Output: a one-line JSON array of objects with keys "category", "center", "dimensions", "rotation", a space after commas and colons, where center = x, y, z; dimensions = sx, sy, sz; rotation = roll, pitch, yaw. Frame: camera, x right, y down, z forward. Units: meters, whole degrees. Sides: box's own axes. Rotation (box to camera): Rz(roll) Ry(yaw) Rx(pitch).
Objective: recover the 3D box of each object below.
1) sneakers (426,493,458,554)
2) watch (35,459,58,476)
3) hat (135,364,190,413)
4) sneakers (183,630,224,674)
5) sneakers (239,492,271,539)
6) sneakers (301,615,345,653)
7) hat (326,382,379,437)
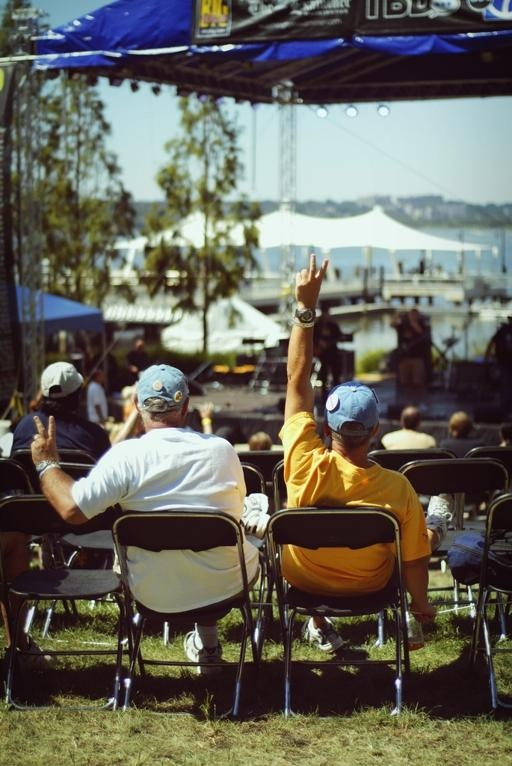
[{"category": "sneakers", "center": [0.916, 0.644, 6.537], "dimensions": [0.121, 0.167, 0.426], "rotation": [7, 54, 11]}, {"category": "watch", "center": [-0.943, 0.379, 5.871], "dimensions": [0.074, 0.068, 0.082], "rotation": [2, -18, -5]}, {"category": "hat", "center": [-0.430, 0.033, 5.981], "dimensions": [0.166, 0.129, 0.240], "rotation": [2, 34, 6]}, {"category": "sneakers", "center": [-0.263, 1.282, 6.218], "dimensions": [0.098, 0.137, 0.302], "rotation": [0, 5, -5]}, {"category": "sneakers", "center": [-0.004, 0.645, 6.488], "dimensions": [0.135, 0.086, 0.193], "rotation": [2, 41, 6]}, {"category": "sneakers", "center": [0.336, 1.250, 6.489], "dimensions": [0.119, 0.081, 0.212], "rotation": [-12, 38, -22]}, {"category": "hat", "center": [0.419, 0.110, 5.821], "dimensions": [0.170, 0.151, 0.248], "rotation": [3, 34, 5]}]
